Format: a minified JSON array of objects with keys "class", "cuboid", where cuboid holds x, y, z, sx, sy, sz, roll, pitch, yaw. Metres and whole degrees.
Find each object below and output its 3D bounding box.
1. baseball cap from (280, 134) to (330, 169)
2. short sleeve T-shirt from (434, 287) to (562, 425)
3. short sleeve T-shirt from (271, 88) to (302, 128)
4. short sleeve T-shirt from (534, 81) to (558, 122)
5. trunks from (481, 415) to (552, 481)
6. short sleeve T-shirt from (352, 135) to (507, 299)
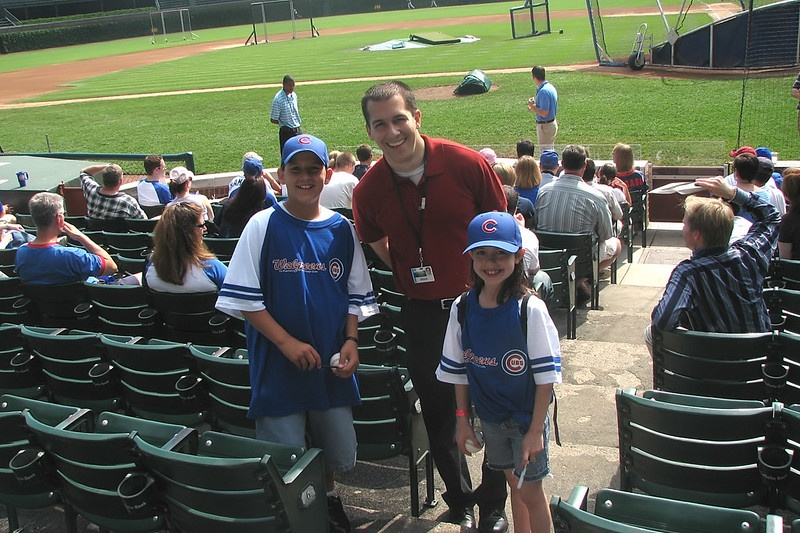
[{"class":"baseball cap","cuboid":[-0.625,-0.733,4.935,0.327,0.221,0.436,-1,-7,-10]},{"class":"short sleeve T-shirt","cuboid":[0.572,0.544,4.688,0.906,0.832,0.353,2,8,26]},{"class":"short sleeve T-shirt","cuboid":[-2.146,-2.969,14.605,0.420,0.706,0.758,10,25,37]},{"class":"short sleeve T-shirt","cuboid":[2.519,-2.830,13.299,0.417,0.648,0.776,1,18,14]},{"class":"trunks","cuboid":[0.718,1.078,4.777,0.424,0.393,0.247,-2,5,31]},{"class":"short sleeve T-shirt","cuboid":[0.192,-0.323,5.172,1.133,1.013,0.494,-5,16,16]}]
